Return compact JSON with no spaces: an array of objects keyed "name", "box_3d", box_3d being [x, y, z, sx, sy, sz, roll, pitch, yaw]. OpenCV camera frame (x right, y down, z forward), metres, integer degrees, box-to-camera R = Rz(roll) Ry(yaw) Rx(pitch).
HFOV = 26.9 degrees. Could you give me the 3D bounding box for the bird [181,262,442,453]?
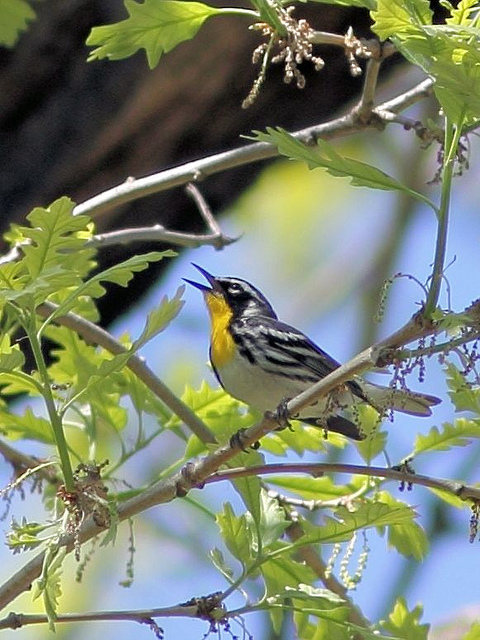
[{"name":"bird","box_3d":[0.140,0.158,4.147,1.460,0.833,0.465,3,-26,14]}]
